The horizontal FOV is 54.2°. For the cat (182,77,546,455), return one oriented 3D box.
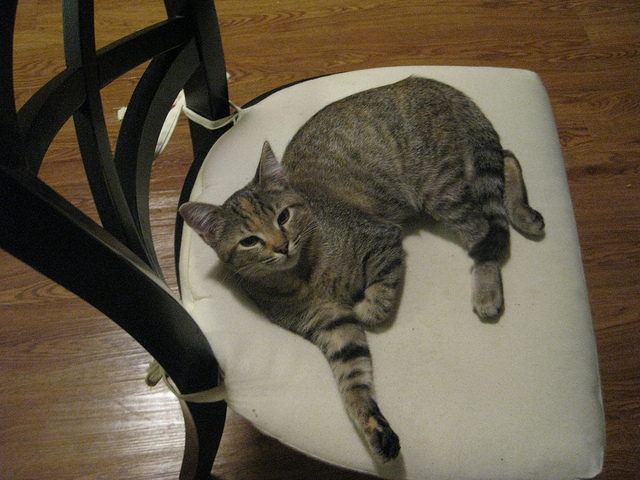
[{"bbox_3d":[0.110,-0.097,1.181,0.587,0.335,0.693,32,64,24],"label":"cat"}]
